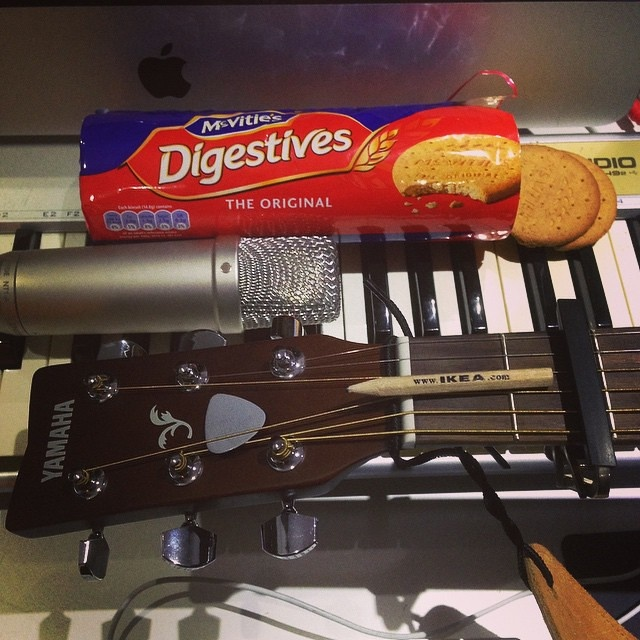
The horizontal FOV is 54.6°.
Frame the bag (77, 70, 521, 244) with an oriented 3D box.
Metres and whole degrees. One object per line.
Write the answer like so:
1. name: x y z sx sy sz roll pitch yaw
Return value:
1. bag: -0.044 -0.225 0.916 0.737 0.168 0.212 -2 36 5
